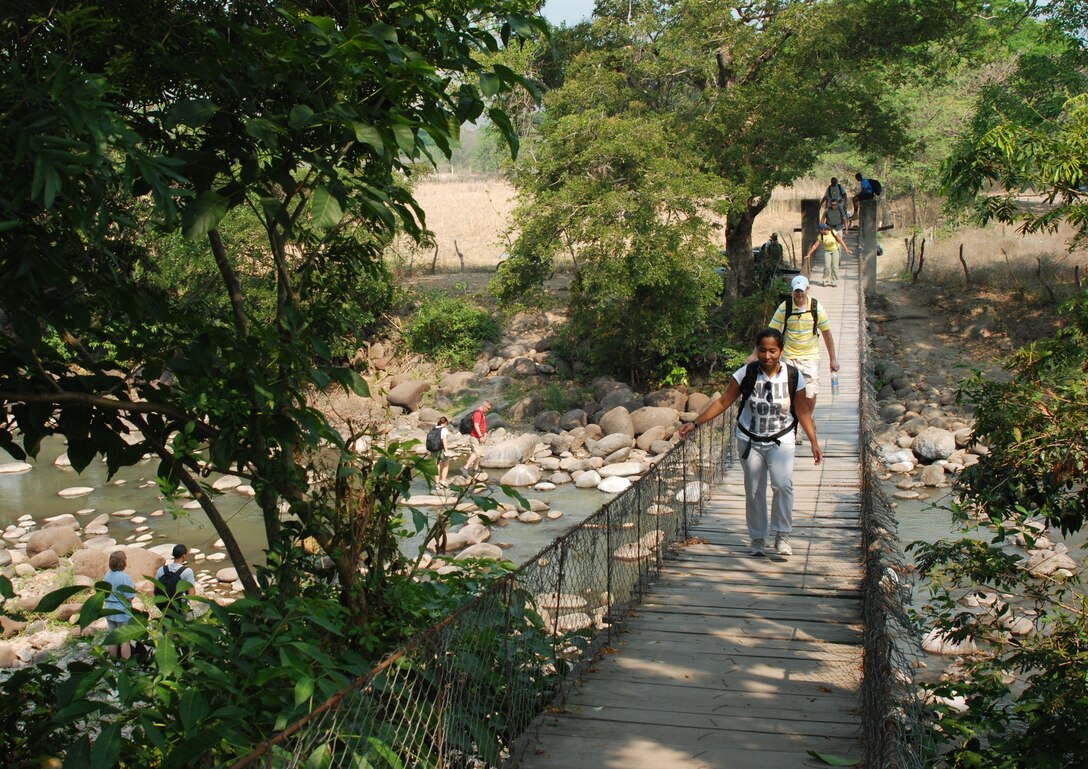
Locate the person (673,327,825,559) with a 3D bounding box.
[{"bbox_3d":[1.889,0.538,7.412,0.786,2.043,0.467,-3,9,37],"label":"person"}]

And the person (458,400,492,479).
[{"bbox_3d":[-1.351,0.938,18.543,0.474,1.265,0.667,15,27,28],"label":"person"}]

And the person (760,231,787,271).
[{"bbox_3d":[6.233,-3.629,23.540,0.626,0.929,2.354,-6,7,15],"label":"person"}]

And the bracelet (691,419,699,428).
[{"bbox_3d":[1.361,0.343,7.677,0.040,0.057,0.061,-6,2,0],"label":"bracelet"}]
